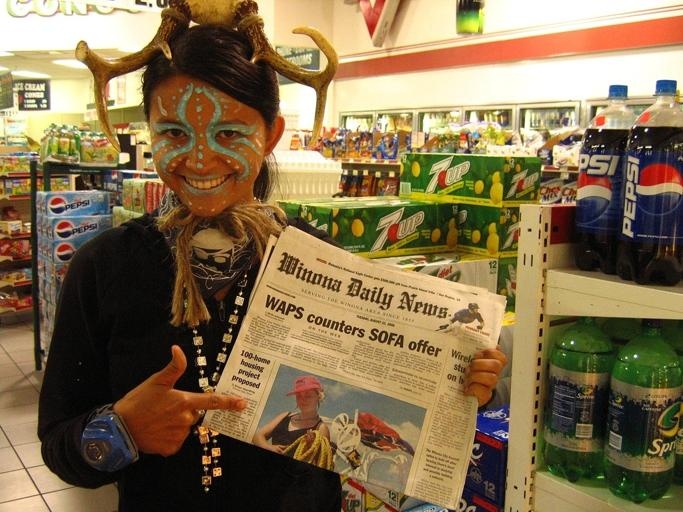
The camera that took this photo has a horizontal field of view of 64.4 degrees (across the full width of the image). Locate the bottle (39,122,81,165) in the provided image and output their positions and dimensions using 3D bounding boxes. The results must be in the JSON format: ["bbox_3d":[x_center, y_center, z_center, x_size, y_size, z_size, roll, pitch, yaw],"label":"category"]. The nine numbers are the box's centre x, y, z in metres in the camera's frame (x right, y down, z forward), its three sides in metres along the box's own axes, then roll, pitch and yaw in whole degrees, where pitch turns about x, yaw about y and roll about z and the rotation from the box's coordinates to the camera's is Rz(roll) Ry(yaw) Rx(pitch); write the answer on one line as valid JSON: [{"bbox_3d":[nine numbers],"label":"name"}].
[{"bbox_3d":[-2.503,-0.972,4.814,0.368,0.365,0.369,3,7,21],"label":"bottle"}]

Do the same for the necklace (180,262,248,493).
[{"bbox_3d":[-0.293,0.289,1.282,0.126,0.501,0.021,-4,-21,7],"label":"necklace"}]
